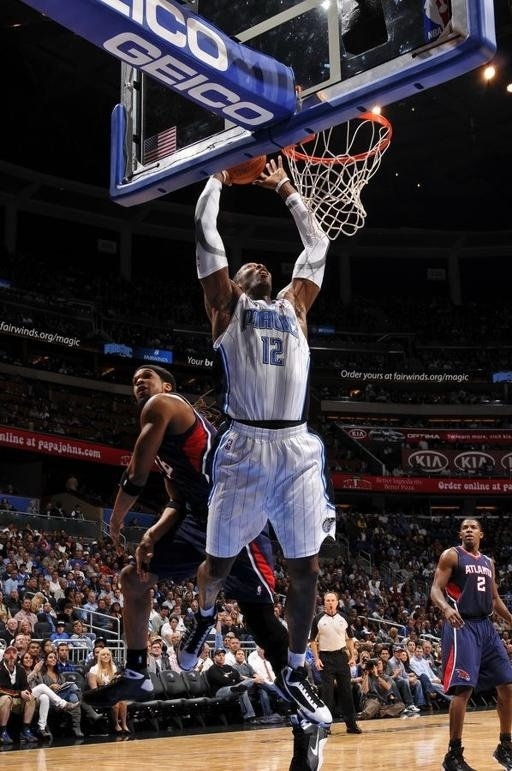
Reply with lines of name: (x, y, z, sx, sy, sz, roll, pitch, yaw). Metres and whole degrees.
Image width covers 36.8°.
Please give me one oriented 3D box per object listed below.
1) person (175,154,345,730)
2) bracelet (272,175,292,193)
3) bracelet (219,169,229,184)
person: (0.032, 0.086, 3.197, 0.474, 2.038, 0.762, -8, -2, 25)
bracelet: (0.122, -0.980, 3.746, 0.088, 0.028, 0.087, -37, -21, -11)
bracelet: (-0.138, -0.958, 3.568, 0.052, 0.057, 0.064, 4, 26, 10)
